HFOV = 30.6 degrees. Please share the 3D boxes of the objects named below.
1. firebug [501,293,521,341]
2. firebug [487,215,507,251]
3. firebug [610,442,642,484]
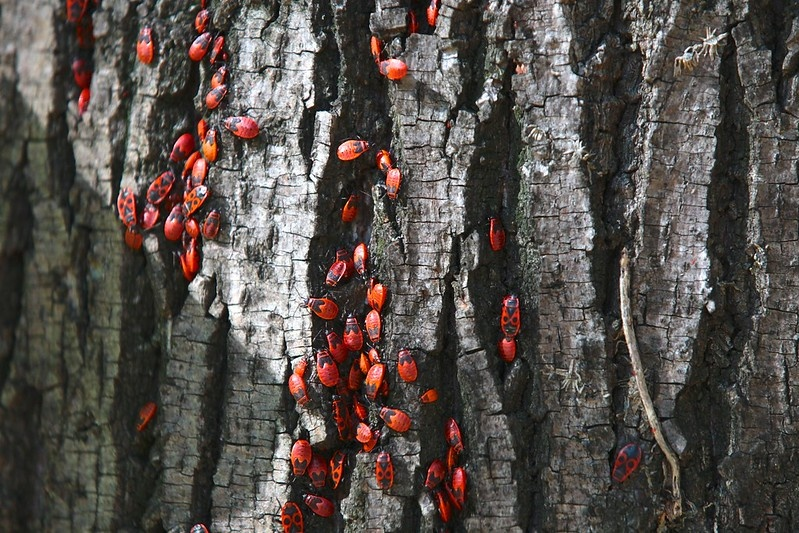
[{"bbox_3d":[0.857,0.409,11.494,0.160,0.318,0.128,0,-15,3],"label":"firebug"},{"bbox_3d":[0.759,-0.246,11.516,0.143,0.245,0.101,4,-15,-10],"label":"firebug"},{"bbox_3d":[1.736,1.548,11.317,0.174,0.318,0.058,29,2,3],"label":"firebug"}]
